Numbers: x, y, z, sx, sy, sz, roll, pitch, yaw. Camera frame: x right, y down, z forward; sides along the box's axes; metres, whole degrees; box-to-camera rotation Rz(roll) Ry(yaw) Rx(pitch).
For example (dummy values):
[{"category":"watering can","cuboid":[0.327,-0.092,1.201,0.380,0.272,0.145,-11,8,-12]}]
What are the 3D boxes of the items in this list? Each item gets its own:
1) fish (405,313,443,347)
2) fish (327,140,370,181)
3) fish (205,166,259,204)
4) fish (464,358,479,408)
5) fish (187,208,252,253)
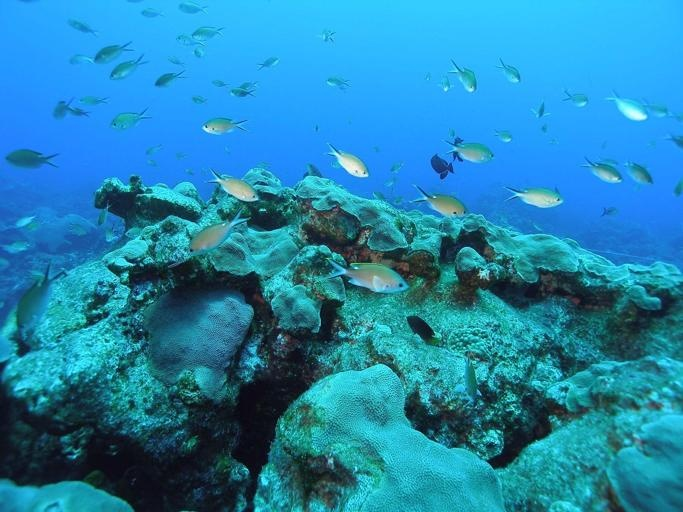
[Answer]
[{"category":"fish","cuboid":[1.288,1.185,8.353,0.350,0.117,0.508,-36,71,-26]},{"category":"fish","cuboid":[0.085,-1.486,8.391,0.866,0.350,0.213,33,51,17]},{"category":"fish","cuboid":[-1.623,-1.012,8.000,0.706,0.450,0.362,34,50,24]},{"category":"fish","cuboid":[1.853,1.759,7.475,0.158,0.724,0.288,-1,5,-25]},{"category":"fish","cuboid":[-1.711,-0.328,7.247,0.785,0.514,0.211,-21,52,-27]}]
